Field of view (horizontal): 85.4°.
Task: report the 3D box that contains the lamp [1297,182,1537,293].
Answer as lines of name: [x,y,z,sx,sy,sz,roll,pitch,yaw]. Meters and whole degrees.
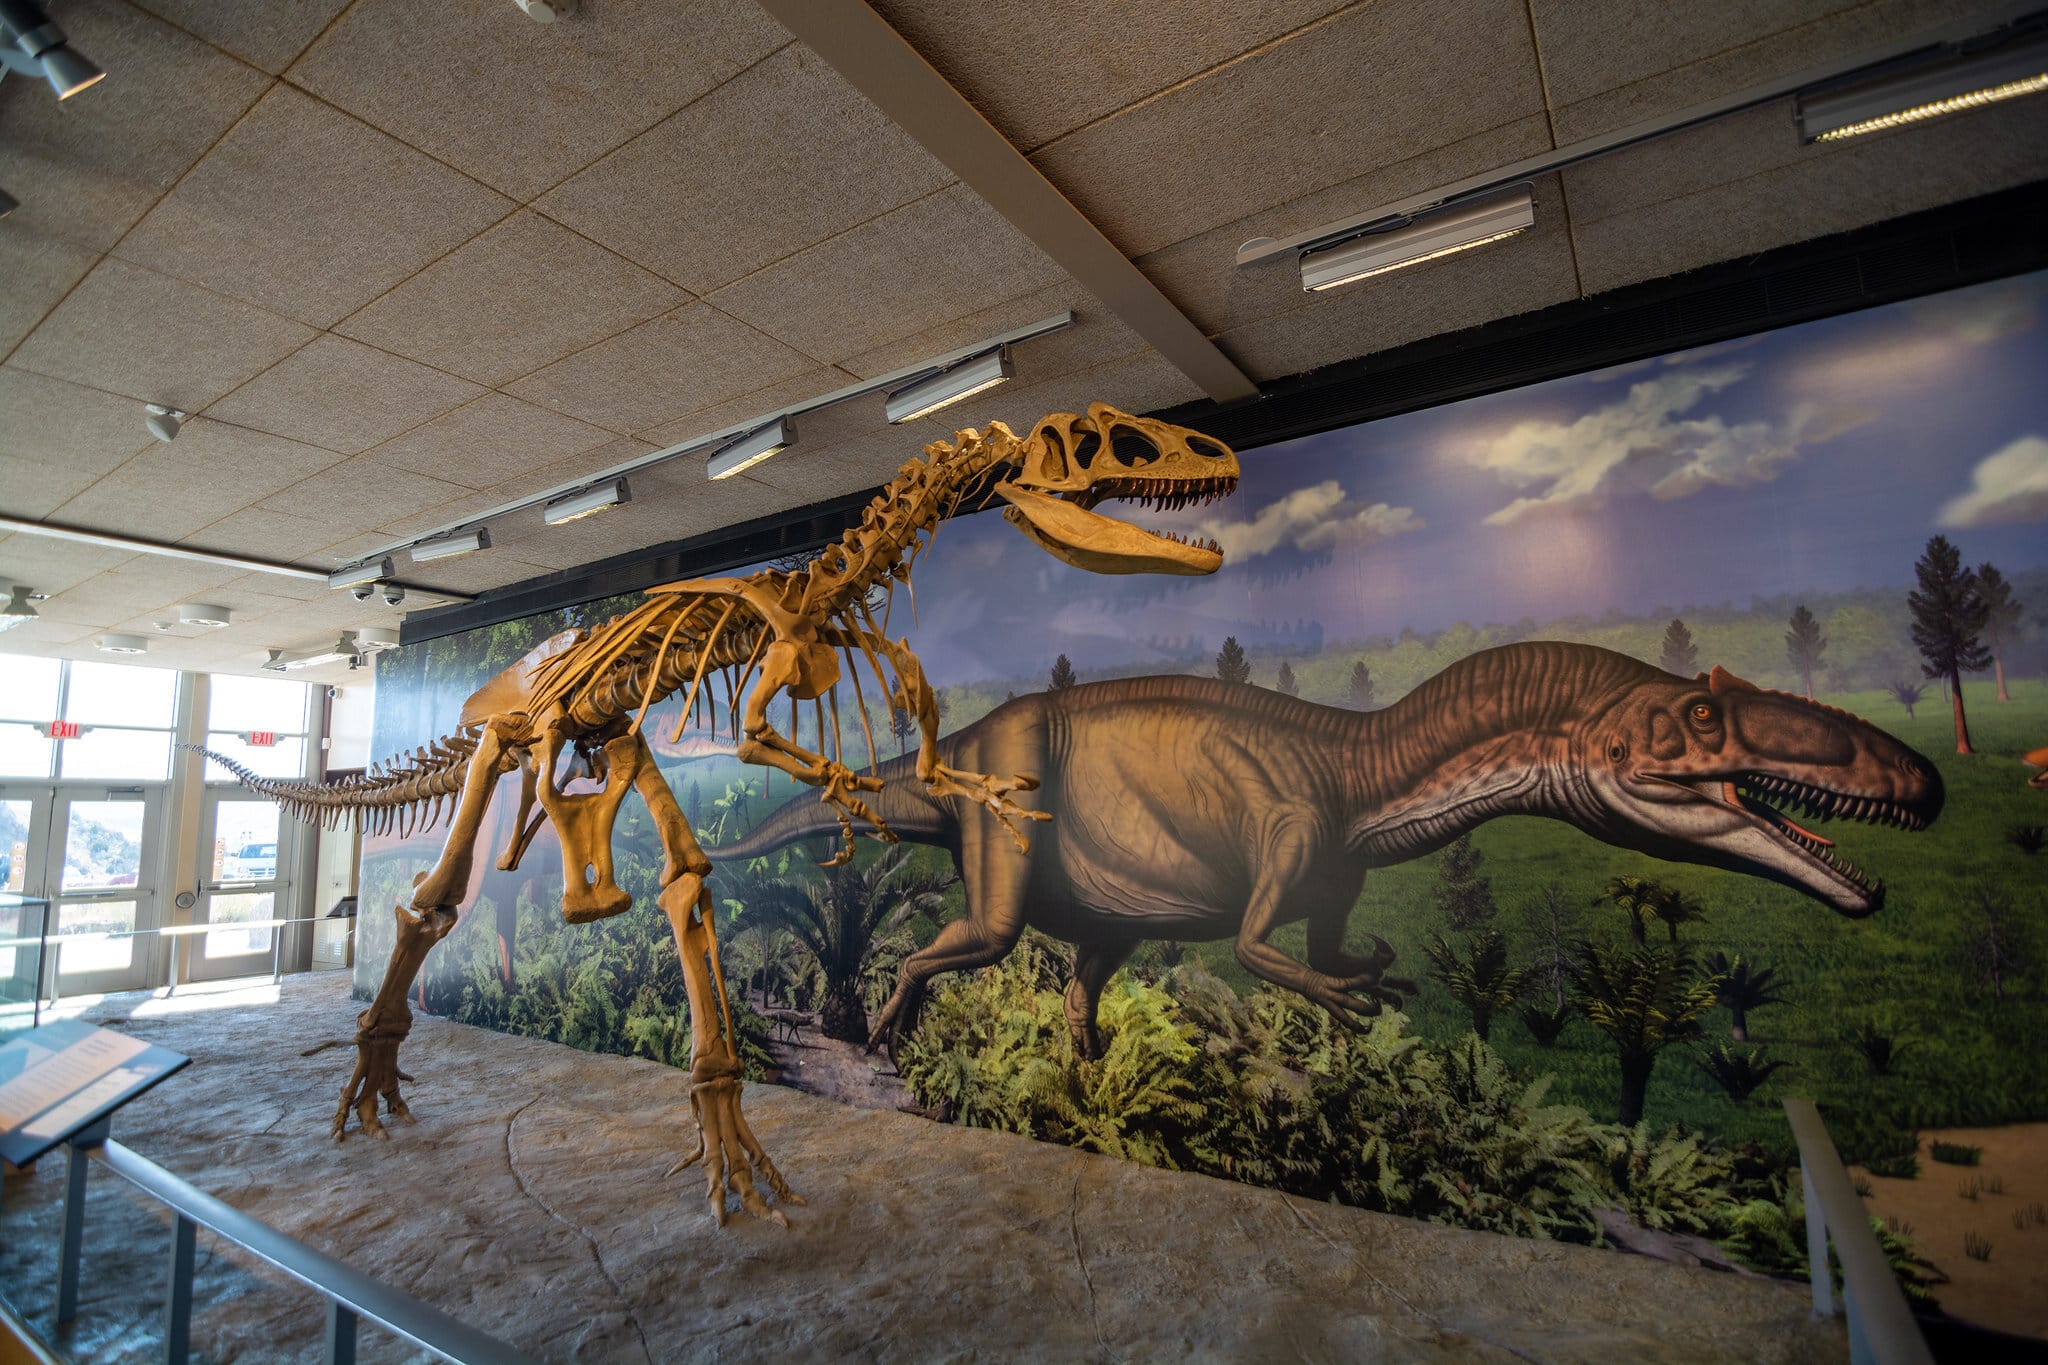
lamp: [1.481,-1.702,4.212,0.949,0.192,0.152,-2,28,43]

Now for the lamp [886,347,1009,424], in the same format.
lamp: [-0.380,-1.370,5.025,0.562,0.125,0.096,-15,-13,30]

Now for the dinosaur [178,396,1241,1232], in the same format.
dinosaur: [-1.741,0.678,4.891,5.651,2.876,1.428,-9,-6,20]

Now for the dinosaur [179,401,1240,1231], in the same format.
dinosaur: [-1.627,0.662,4.893,5.350,2.907,1.422,-9,-6,20]
